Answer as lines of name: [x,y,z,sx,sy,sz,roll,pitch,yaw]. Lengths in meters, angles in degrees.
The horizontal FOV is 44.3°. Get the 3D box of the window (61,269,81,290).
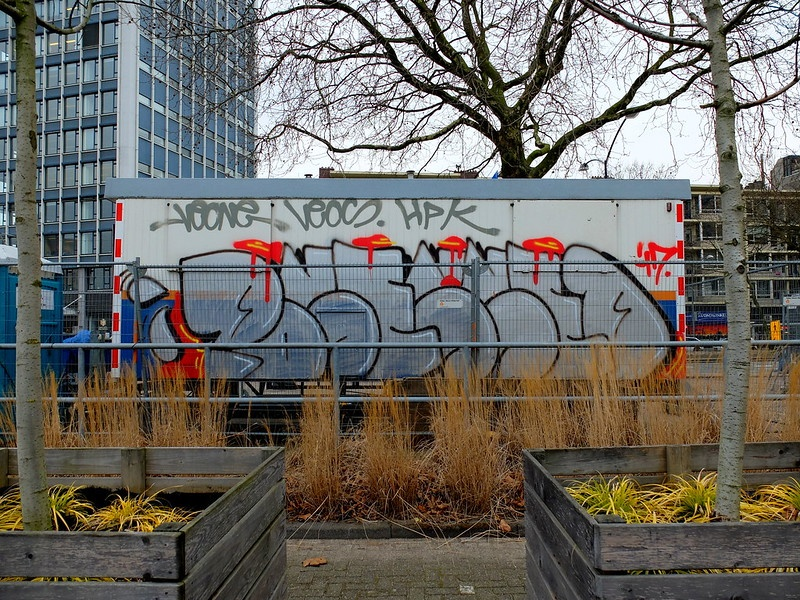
window: [-4.031,-0.253,12.115,0.248,0.188,0.138,-1,-3,30]

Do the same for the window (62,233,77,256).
window: [-15.957,-2.716,47.760,1.083,1.454,0.111,0,5,13]

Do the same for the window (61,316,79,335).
window: [-4.016,0.326,12.039,0.157,0.209,0.440,-3,-1,-24]

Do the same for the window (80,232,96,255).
window: [-14.991,-2.713,47.505,1.098,1.340,0.101,0,6,11]

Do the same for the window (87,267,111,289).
window: [-3.644,-0.270,11.899,0.245,0.237,0.018,-6,29,-35]
